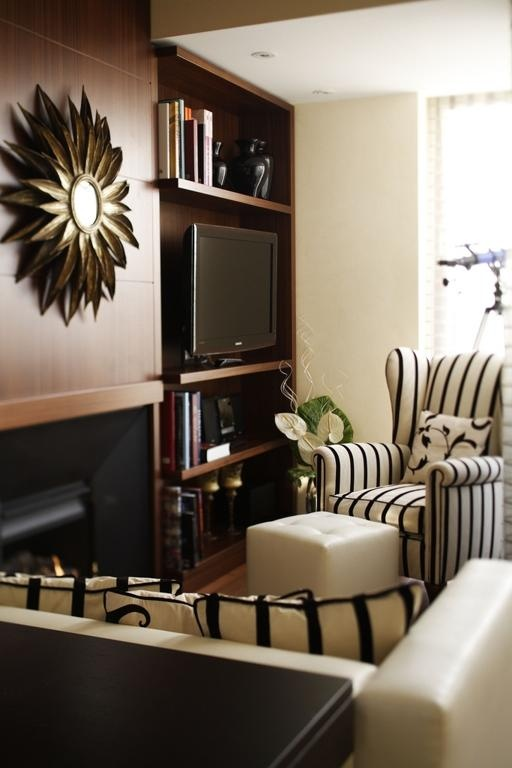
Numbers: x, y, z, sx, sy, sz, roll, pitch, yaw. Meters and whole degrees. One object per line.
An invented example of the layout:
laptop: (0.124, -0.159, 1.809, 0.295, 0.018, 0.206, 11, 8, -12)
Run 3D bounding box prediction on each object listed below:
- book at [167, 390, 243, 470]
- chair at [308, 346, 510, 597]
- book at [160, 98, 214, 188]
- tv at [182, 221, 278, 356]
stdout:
book: (-0.265, 0.222, 3.136, 0.300, 0.466, 0.446, 1, 2, 18)
chair: (0.706, 0.306, 3.274, 1.010, 1.481, 0.987, 0, -4, 39)
book: (-0.322, -1.154, 2.975, 0.126, 0.449, 0.427, -1, -3, 22)
tv: (-0.123, -0.523, 3.401, 0.085, 0.667, 0.836, 5, 10, 31)
